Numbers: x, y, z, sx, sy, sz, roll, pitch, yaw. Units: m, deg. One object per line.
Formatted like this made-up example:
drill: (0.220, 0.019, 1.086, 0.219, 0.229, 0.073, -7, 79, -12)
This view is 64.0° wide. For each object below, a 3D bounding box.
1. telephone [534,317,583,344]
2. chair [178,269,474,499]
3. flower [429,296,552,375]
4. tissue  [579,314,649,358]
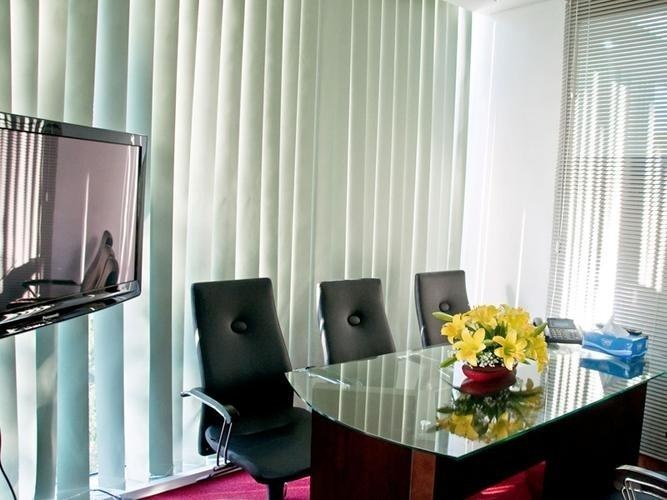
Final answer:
telephone: (1.407, 0.506, 3.325, 0.245, 0.127, 0.275, 0, 11, -5)
chair: (-0.083, 0.601, 3.435, 1.053, 1.795, 1.127, 0, -1, -34)
flower: (0.822, 0.440, 2.706, 0.546, 0.293, 0.520, 15, 23, 34)
tissue : (1.712, 0.475, 3.235, 0.257, 0.201, 0.259, 4, 4, 43)
